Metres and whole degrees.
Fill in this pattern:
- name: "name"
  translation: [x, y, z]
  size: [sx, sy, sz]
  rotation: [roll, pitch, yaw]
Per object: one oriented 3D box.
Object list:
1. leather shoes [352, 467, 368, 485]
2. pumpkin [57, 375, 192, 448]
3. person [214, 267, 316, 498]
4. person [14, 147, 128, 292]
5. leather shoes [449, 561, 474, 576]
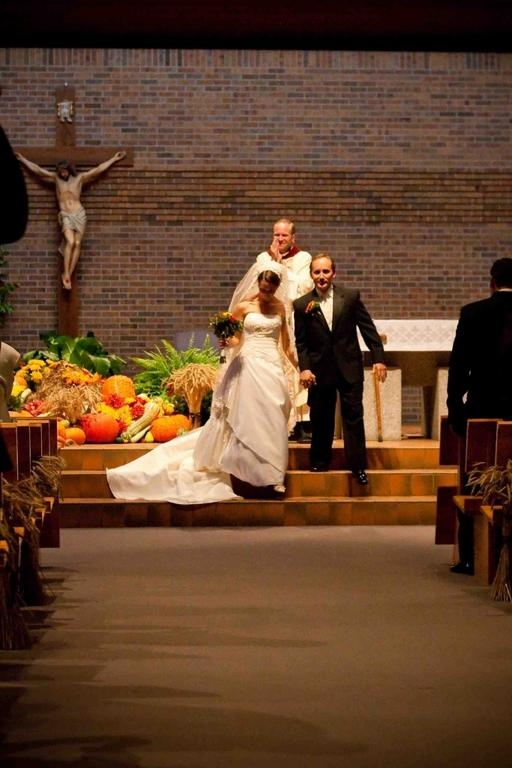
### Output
- name: "leather shoes"
  translation: [0.697, 0.593, 5.266]
  size: [0.093, 0.106, 0.185]
  rotation: [4, 4, 34]
- name: "pumpkin"
  translation: [-1.081, 0.259, 6.405]
  size: [0.534, 0.338, 0.710]
  rotation: [5, 9, 27]
- name: "person"
  translation: [-0.006, -0.036, 5.243]
  size: [0.532, 1.498, 0.464]
  rotation: [1, 3, -3]
- name: "person"
  translation: [-2.151, -1.918, 9.381]
  size: [1.174, 1.628, 0.305]
  rotation: [1, 3, -12]
- name: "leather shoes"
  translation: [0.917, 0.820, 3.593]
  size: [0.108, 0.080, 0.039]
  rotation: [6, 2, 27]
